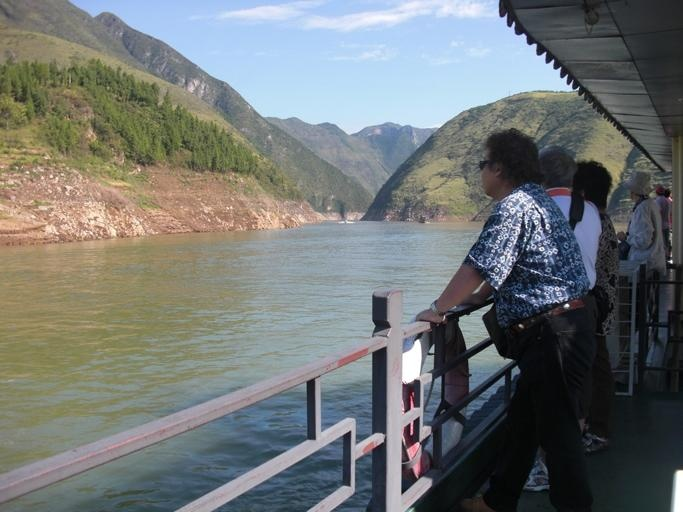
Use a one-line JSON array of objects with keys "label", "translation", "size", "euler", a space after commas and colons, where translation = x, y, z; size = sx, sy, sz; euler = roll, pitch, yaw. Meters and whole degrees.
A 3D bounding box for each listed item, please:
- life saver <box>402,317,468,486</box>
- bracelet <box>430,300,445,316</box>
[{"label": "life saver", "translation": [0.665, 0.978, 3.674], "size": [0.269, 0.976, 1.003], "euler": [-2, 9, 28]}, {"label": "bracelet", "translation": [0.582, 0.324, 3.258], "size": [0.040, 0.074, 0.099], "euler": [7, -14, 18]}]
